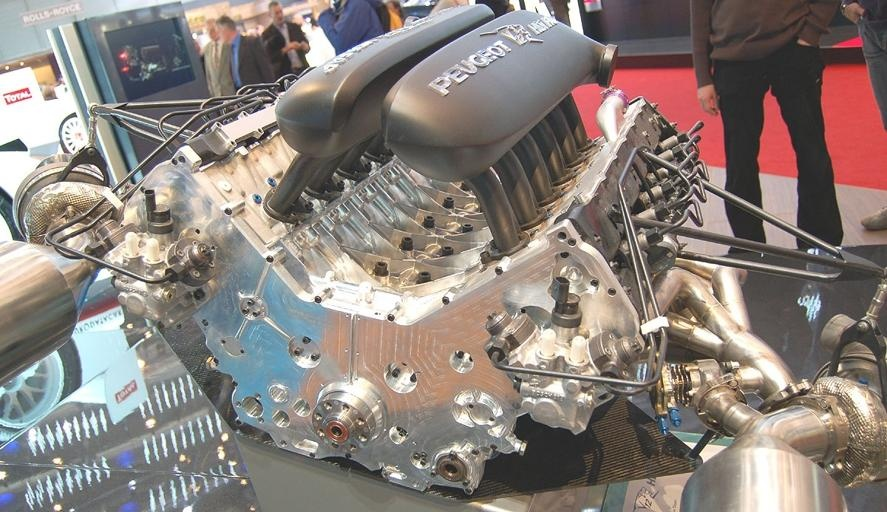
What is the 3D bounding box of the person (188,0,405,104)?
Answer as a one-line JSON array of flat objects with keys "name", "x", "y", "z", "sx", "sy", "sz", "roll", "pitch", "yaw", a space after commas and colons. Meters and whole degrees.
[{"name": "person", "x": -2.127, "y": -2.355, "z": 7.301, "sx": 1.202, "sy": 0.987, "sz": 0.316, "roll": -7, "pitch": 3, "yaw": -1}]
